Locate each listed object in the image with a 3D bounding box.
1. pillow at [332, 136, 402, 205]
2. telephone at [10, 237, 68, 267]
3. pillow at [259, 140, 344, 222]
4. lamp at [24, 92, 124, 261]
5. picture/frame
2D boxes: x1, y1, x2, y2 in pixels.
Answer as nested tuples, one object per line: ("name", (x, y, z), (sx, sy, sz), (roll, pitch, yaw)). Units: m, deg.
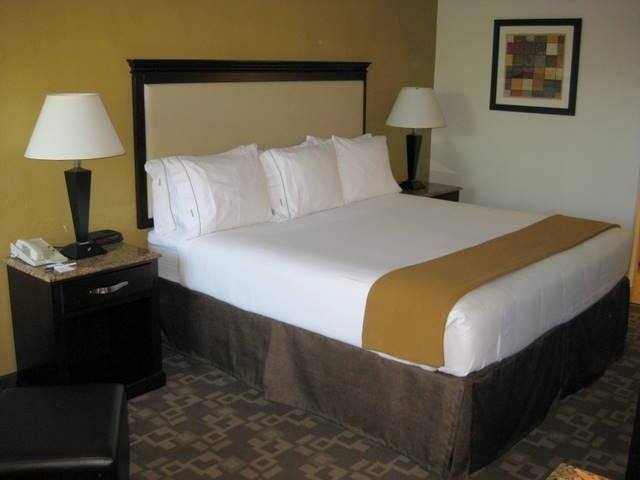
("pillow", (0.404, -0.657, 4.669), (0.616, 0.661, 0.183), (-8, -1, -42))
("telephone", (-1.751, 0.064, 3.109), (0.252, 0.114, 0.187), (19, 26, 31))
("pillow", (-0.138, -0.481, 4.203), (0.622, 0.672, 0.185), (-14, 1, -36))
("lamp", (-1.491, -0.378, 3.115), (0.470, 0.990, 0.350), (3, 16, 13))
("picture/frame", (2.306, -1.834, 5.317), (0.865, 1.067, 0.073), (13, 20, 36))
